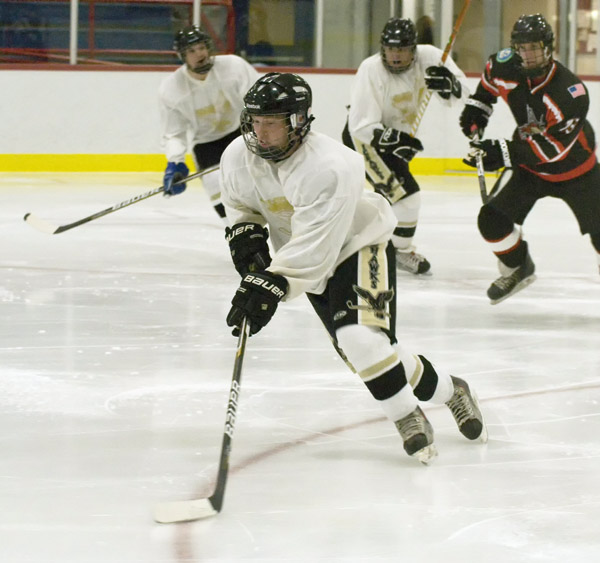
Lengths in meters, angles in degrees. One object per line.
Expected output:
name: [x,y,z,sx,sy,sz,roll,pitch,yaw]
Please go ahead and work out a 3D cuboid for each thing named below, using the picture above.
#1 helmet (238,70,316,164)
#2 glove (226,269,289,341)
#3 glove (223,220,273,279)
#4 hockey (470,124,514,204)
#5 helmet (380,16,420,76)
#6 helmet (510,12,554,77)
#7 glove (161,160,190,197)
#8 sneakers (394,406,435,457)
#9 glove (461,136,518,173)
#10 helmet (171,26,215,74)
helmet: [-0.041,-0.380,1.946,0.167,0.199,0.125,-3,16,-18]
glove: [-0.098,0.050,1.928,0.121,0.160,0.055,28,5,4]
glove: [-0.134,-0.087,2.104,0.133,0.126,0.060,-9,-22,7]
hockey: [0.841,-0.477,3.406,0.133,0.300,0.216,-4,15,-7]
helmet: [0.475,-1.141,4.013,0.175,0.260,0.211,4,15,10]
helmet: [0.905,-0.921,3.226,0.163,0.235,0.220,5,15,13]
glove: [-0.636,-0.529,4.261,0.091,0.125,0.183,16,-32,-16]
sneakers: [0.255,0.346,1.935,0.051,0.069,0.147,-40,16,11]
glove: [0.752,-0.503,3.299,0.218,0.063,0.136,2,32,10]
helmet: [-0.520,-1.133,4.099,0.184,0.245,0.167,0,15,-6]
